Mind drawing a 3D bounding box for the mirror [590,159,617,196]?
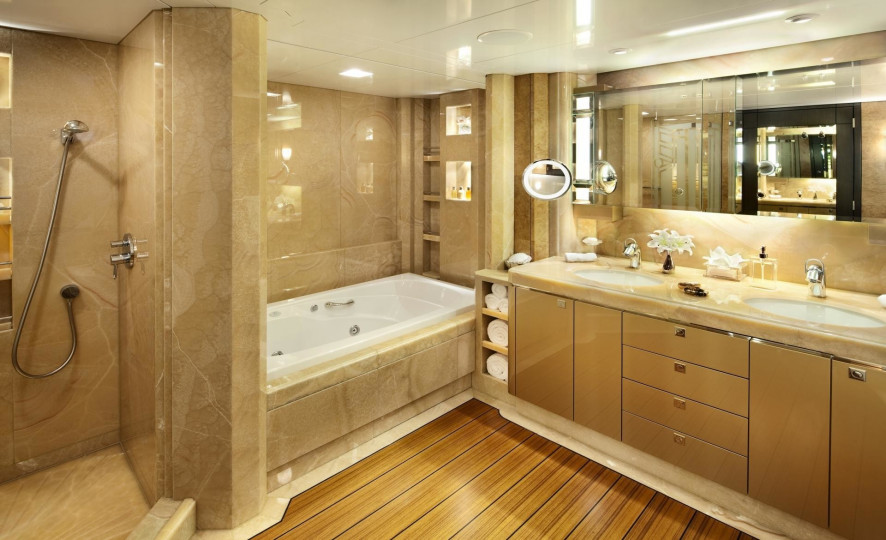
[{"bbox_3d":[1.404,-0.786,5.031,0.272,0.258,0.090,16,22,27],"label":"mirror"}]

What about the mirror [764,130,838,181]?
[{"bbox_3d":[2.684,-0.854,4.308,0.414,0.327,0.032,4,8,33],"label":"mirror"}]

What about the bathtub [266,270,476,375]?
[{"bbox_3d":[-0.728,0.492,5.376,2.088,0.472,1.161,-12,17,-43],"label":"bathtub"}]

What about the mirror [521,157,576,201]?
[{"bbox_3d":[0.881,-0.768,4.971,0.382,0.333,0.139,8,16,35],"label":"mirror"}]

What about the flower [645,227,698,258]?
[{"bbox_3d":[1.896,-0.239,4.792,0.269,0.102,0.267,15,31,29],"label":"flower"}]

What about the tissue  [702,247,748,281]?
[{"bbox_3d":[2.245,-0.061,4.627,0.281,0.193,0.277,-6,7,-45],"label":"tissue "}]

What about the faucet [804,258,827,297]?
[{"bbox_3d":[2.724,0.059,4.260,0.099,0.264,0.182,-4,13,-15],"label":"faucet"}]

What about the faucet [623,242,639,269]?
[{"bbox_3d":[1.640,-0.143,5.028,0.133,0.204,0.315,4,13,18],"label":"faucet"}]
